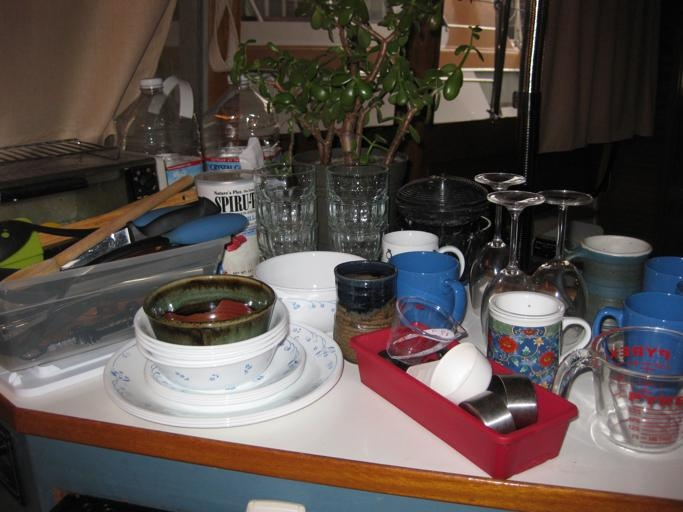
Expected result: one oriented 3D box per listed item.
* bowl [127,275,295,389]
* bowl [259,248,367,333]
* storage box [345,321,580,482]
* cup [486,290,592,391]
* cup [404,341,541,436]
[{"bbox_3d":[-0.180,0.106,0.745,0.180,0.083,0.181,2,24,-1],"label":"bowl"},{"bbox_3d":[-0.070,0.050,0.954,0.152,0.093,0.158,0,16,0],"label":"bowl"},{"bbox_3d":[0.157,0.148,0.705,0.136,0.073,0.272,-14,27,-34],"label":"storage box"},{"bbox_3d":[0.273,0.120,0.845,0.168,0.169,0.108,-1,20,2],"label":"cup"},{"bbox_3d":[0.175,0.155,0.687,0.084,0.055,0.137,-37,38,-28],"label":"cup"}]
